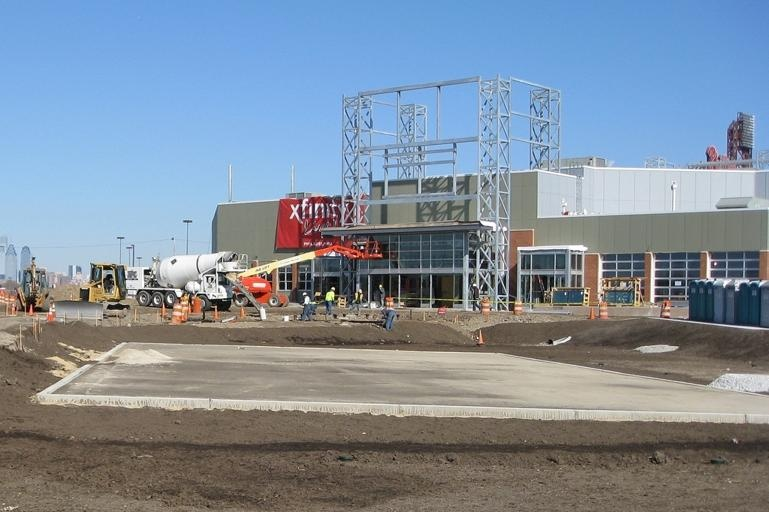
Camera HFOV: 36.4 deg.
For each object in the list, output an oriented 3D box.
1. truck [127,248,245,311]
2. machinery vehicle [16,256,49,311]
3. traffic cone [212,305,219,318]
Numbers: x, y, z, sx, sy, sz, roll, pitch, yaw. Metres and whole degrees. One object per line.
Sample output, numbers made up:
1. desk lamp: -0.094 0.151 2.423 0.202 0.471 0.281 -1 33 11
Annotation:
1. truck: -11.942 1.423 69.130 5.408 3.834 10.868 -2 6 -40
2. machinery vehicle: -19.230 1.417 64.150 1.474 2.110 4.492 1 0 -13
3. traffic cone: -8.638 2.938 60.961 0.648 0.708 0.647 0 -6 -13
